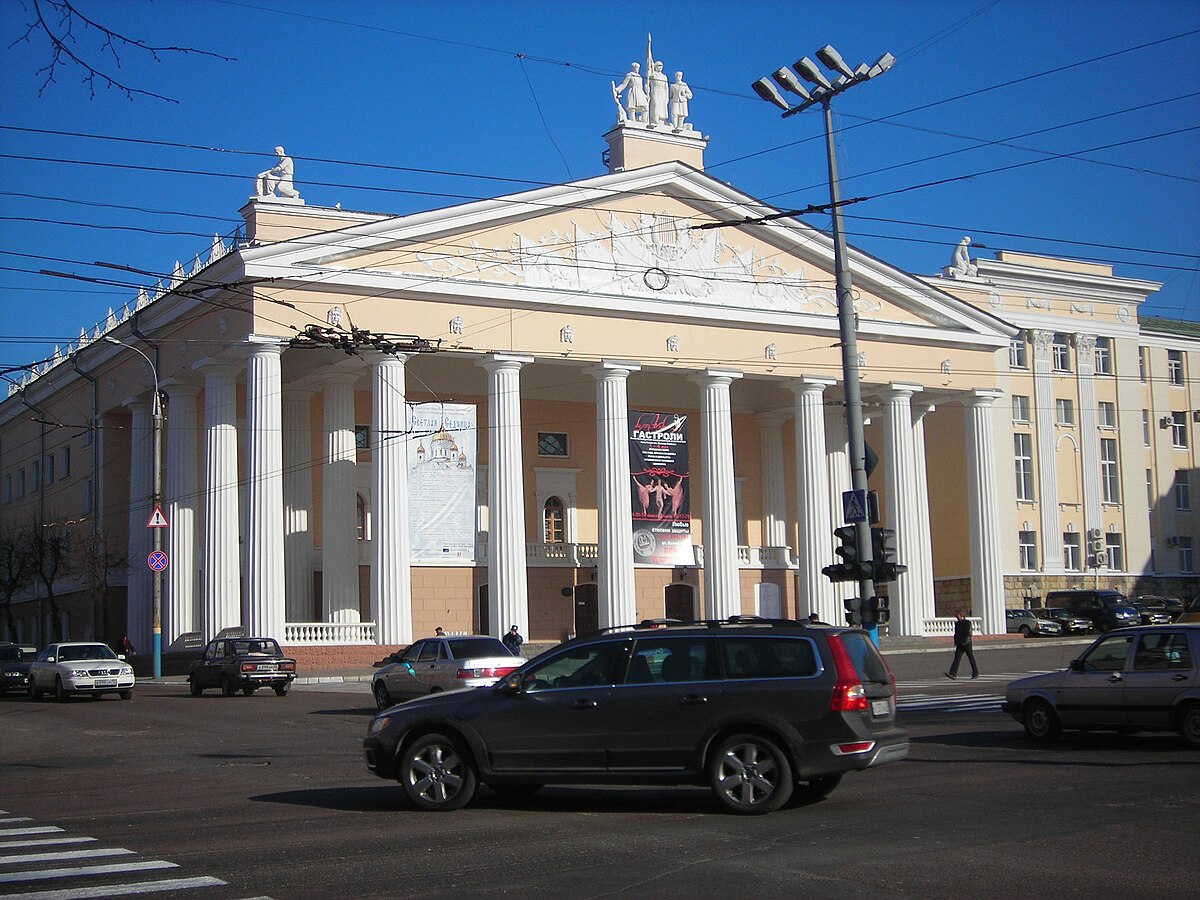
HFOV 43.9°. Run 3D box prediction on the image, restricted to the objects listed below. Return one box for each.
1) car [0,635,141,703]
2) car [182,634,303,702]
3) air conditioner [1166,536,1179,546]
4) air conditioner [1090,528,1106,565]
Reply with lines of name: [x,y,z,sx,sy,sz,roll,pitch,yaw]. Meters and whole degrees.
car: [-13.631,5.904,39.099,1.386,1.348,3.553,-2,0,-43]
car: [-9.547,5.698,39.374,1.589,0.966,2.957,3,-3,-37]
air conditioner: [28.233,4.476,72.843,0.548,0.394,0.115,1,-2,0]
air conditioner: [22.916,4.489,68.448,0.608,1.757,0.805,-3,0,22]
